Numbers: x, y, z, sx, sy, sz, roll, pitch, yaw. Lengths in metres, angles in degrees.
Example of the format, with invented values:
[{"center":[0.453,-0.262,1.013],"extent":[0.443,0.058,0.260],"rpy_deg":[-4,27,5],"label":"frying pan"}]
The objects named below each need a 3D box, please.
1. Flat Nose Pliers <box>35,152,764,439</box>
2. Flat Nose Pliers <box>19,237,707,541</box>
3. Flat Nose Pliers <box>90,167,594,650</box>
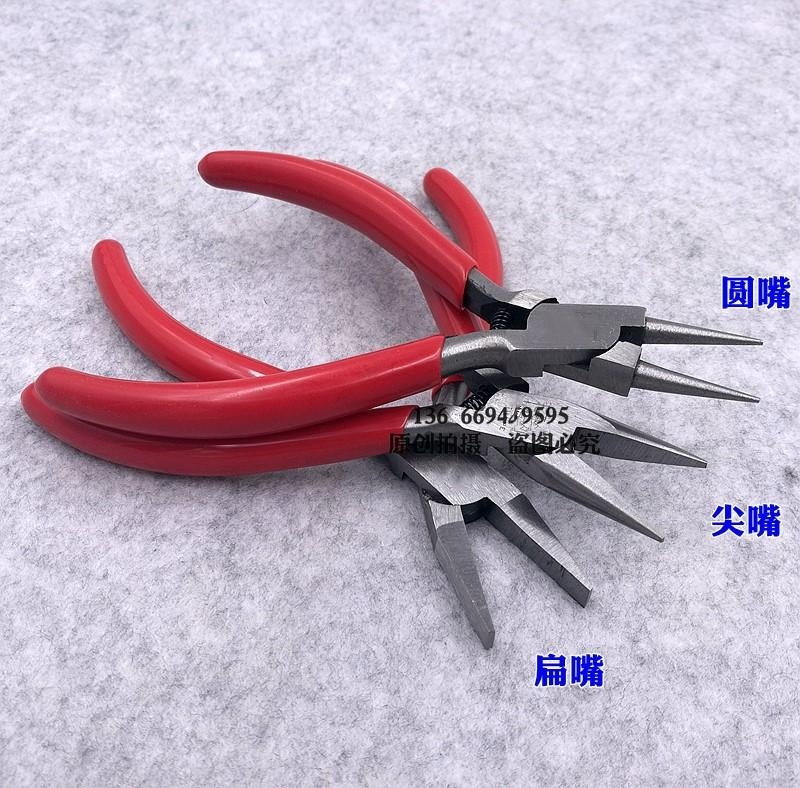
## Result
[{"center":[-0.007,-0.092,1.020],"extent":[0.800,0.051,0.361],"rpy_deg":[6,49,10],"label":"Flat Nose Pliers"},{"center":[-0.099,0.001,1.096],"extent":[0.826,0.105,0.300],"rpy_deg":[5,43,6],"label":"Flat Nose Pliers"},{"center":[-0.105,0.021,1.162],"extent":[0.439,0.072,0.718],"rpy_deg":[-35,60,-27],"label":"Flat Nose Pliers"}]
